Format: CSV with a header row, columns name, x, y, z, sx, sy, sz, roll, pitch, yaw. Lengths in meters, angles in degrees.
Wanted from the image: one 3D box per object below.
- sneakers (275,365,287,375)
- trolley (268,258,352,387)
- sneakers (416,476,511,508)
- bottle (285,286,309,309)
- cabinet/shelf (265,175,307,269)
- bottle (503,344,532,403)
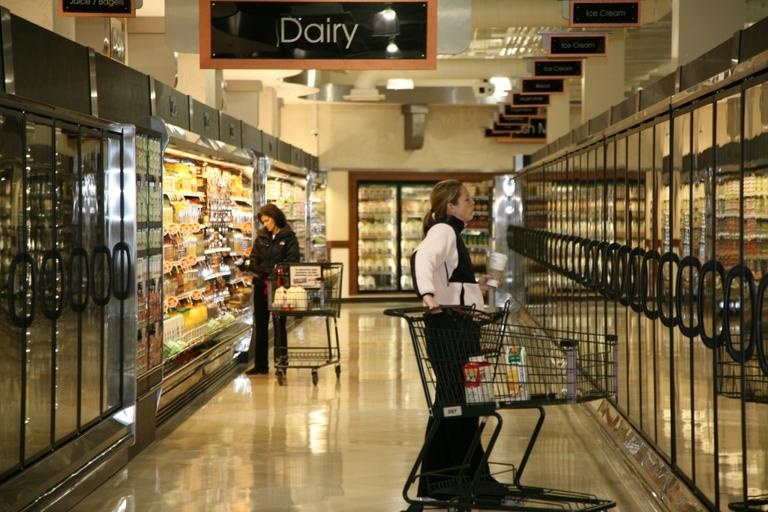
name,x,y,z,sx,sy,sz,roll,pitch,yaw
sneakers,-1.253,1.386,8.044,0.141,0.081,0.218,2,-3,1
trolley,-1.070,0.778,9.256,0.953,1.532,3.015,-1,4,-5
sneakers,0.558,1.637,4.588,0.400,0.133,0.292,0,-4,11
bottle,-1.024,0.513,8.164,0.358,0.403,0.217,0,-5,-2
cabinet/shelf,-1.991,-0.590,13.207,0.978,1.918,0.648,-2,-39,-7
bottle,0.847,0.745,4.212,0.144,0.331,0.117,0,3,8
